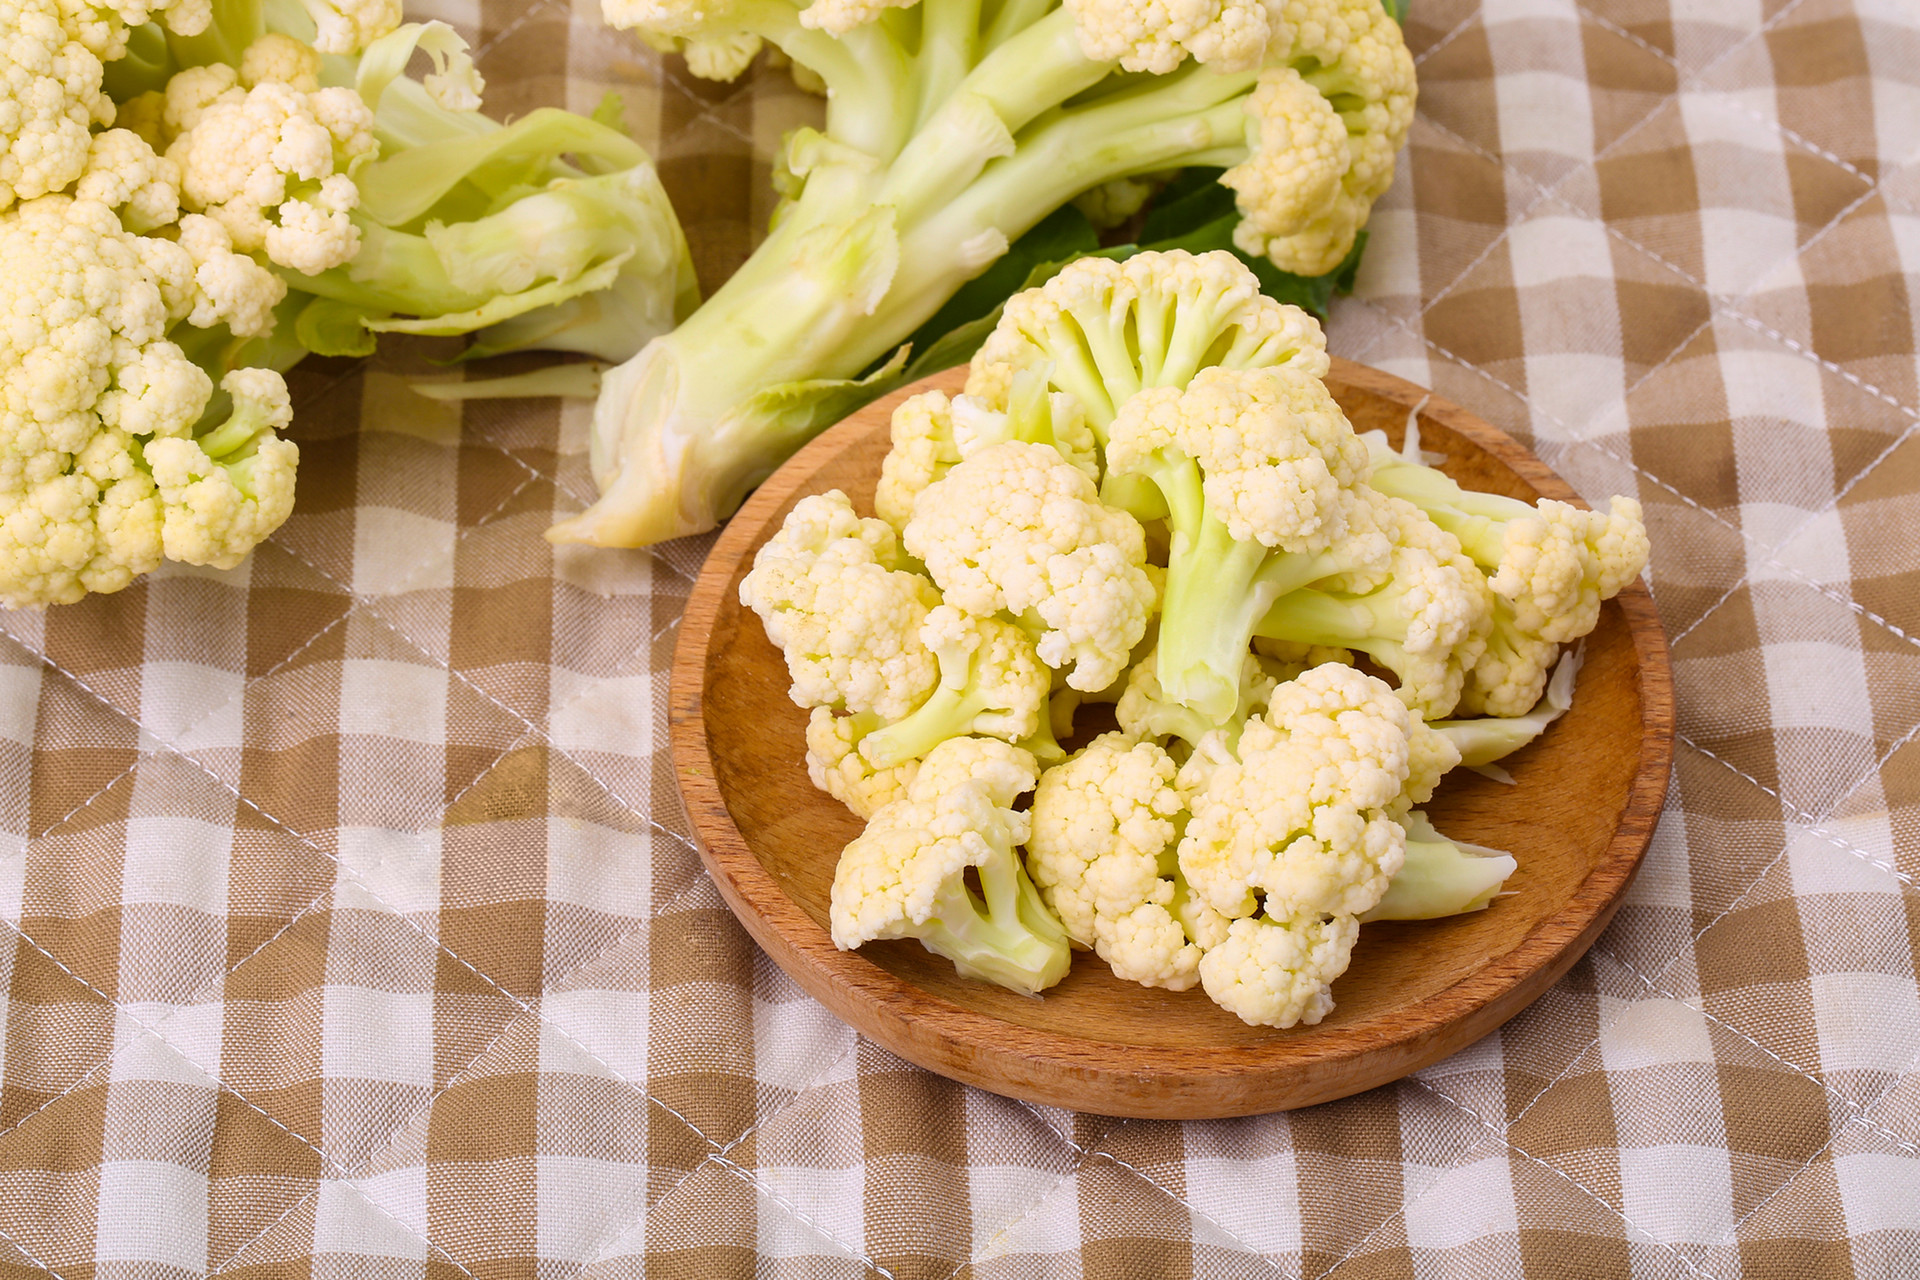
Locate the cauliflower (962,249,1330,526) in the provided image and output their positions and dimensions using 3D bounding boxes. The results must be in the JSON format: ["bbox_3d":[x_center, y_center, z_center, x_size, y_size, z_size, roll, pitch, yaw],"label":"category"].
[{"bbox_3d":[0.152,-0.275,1.703,0.273,0.135,0.267,8,70,24],"label":"cauliflower"}]

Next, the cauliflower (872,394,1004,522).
[{"bbox_3d":[-0.009,-0.145,1.706,0.052,0.104,0.120,31,87,-32],"label":"cauliflower"}]

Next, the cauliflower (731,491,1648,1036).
[{"bbox_3d":[0.205,0.105,1.692,0.609,0.208,0.485,-20,69,22],"label":"cauliflower"}]
